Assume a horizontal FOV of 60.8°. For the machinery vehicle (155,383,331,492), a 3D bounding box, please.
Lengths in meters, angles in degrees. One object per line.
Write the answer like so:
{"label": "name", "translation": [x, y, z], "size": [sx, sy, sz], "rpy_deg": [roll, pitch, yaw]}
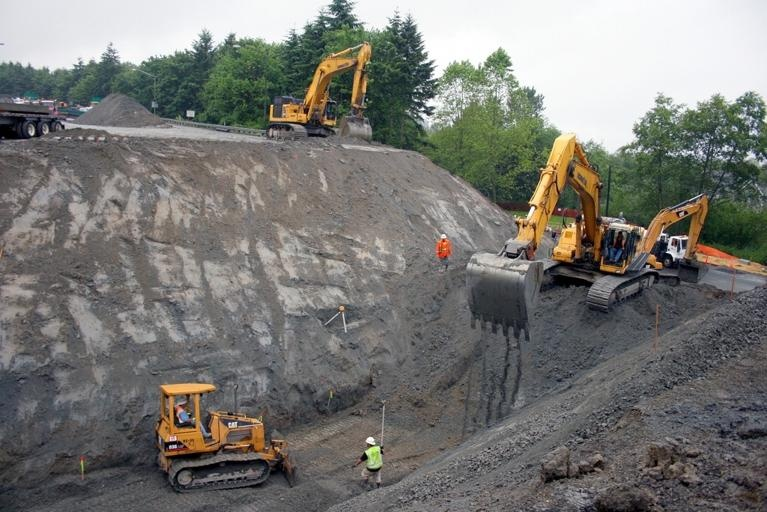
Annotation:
{"label": "machinery vehicle", "translation": [-4.523, 5.016, 19.163], "size": [3.899, 2.820, 2.300], "rpy_deg": [-2, 5, -23]}

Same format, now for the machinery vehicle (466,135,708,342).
{"label": "machinery vehicle", "translation": [5.969, -1.093, 24.057], "size": [4.564, 7.010, 13.127], "rpy_deg": [8, 9, 42]}

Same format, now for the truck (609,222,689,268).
{"label": "truck", "translation": [10.845, -0.351, 26.748], "size": [3.007, 1.560, 1.725], "rpy_deg": [14, 14, 32]}

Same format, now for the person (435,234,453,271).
{"label": "person", "translation": [2.338, -0.120, 25.752], "size": [0.502, 1.358, 0.911], "rpy_deg": [0, 6, 5]}

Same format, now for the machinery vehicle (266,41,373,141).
{"label": "machinery vehicle", "translation": [-3.495, -8.591, 35.250], "size": [6.229, 4.958, 3.233], "rpy_deg": [9, 9, 39]}

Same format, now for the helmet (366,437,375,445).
{"label": "helmet", "translation": [-0.368, 5.112, 17.942], "size": [0.219, 0.166, 0.301], "rpy_deg": [6, 7, -14]}

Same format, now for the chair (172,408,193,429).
{"label": "chair", "translation": [-5.486, 4.439, 17.911], "size": [0.374, 0.433, 0.556], "rpy_deg": [0, -20, 25]}

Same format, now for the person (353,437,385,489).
{"label": "person", "translation": [-0.351, 5.663, 18.339], "size": [0.695, 1.486, 1.302], "rpy_deg": [-1, 6, -2]}
